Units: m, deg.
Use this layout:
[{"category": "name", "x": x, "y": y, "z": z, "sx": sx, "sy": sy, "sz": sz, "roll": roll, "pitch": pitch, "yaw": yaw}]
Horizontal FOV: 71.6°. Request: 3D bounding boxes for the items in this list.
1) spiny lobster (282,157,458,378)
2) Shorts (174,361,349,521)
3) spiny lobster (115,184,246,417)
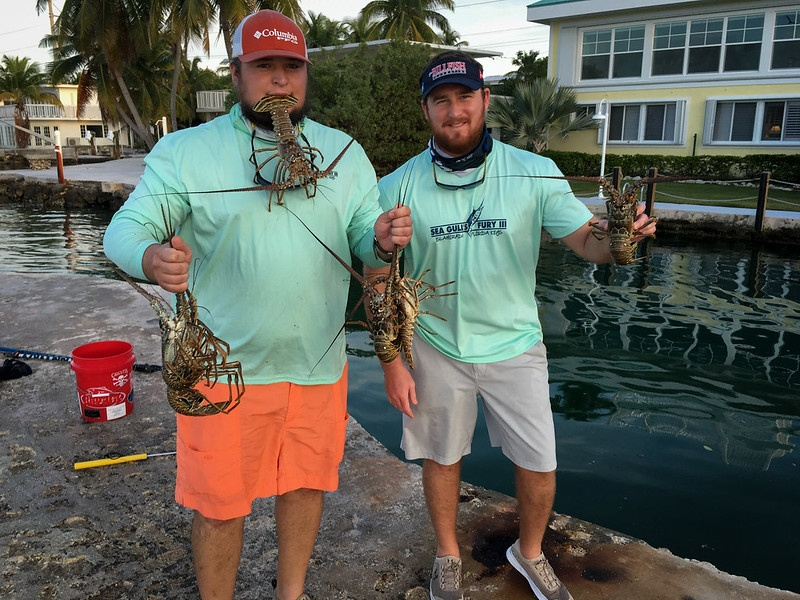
[{"category": "spiny lobster", "x": -0.085, "y": -0.128, "z": 3.112, "sx": 0.939, "sy": 1.034, "sz": 0.714, "roll": 9, "pitch": 12, "yaw": -13}, {"category": "Shorts", "x": -0.788, "y": 0.787, "z": 3.347, "sx": 0.813, "sy": 0.829, "sz": 1.013, "roll": 4, "pitch": 12, "yaw": -24}, {"category": "spiny lobster", "x": -1.113, "y": 0.135, "z": 2.697, "sx": 0.409, "sy": 0.216, "sz": 0.967, "roll": -19, "pitch": 50, "yaw": -27}]
